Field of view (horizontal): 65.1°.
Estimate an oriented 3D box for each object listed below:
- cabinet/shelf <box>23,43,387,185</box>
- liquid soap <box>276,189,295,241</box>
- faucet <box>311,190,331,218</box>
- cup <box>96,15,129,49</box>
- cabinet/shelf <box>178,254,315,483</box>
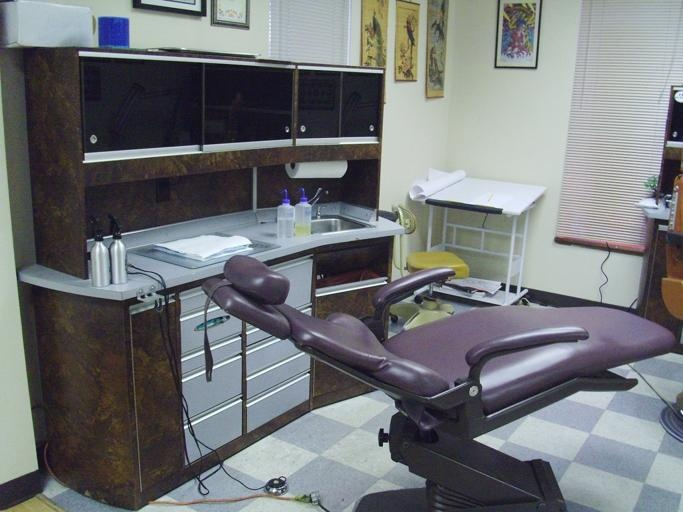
[{"bbox_3d":[-0.575,-0.762,2.917,0.343,0.469,2.021,12,19,34],"label":"cabinet/shelf"},{"bbox_3d":[-0.316,-0.248,3.023,0.107,0.248,0.293,-1,18,-7],"label":"liquid soap"},{"bbox_3d":[-0.137,-0.331,3.450,0.089,0.169,0.173,8,17,29],"label":"faucet"},{"bbox_3d":[-1.003,-0.992,2.363,0.127,0.149,0.247,-8,19,-25],"label":"cup"},{"bbox_3d":[-0.412,0.621,2.814,0.891,0.840,0.296,-26,-36,26],"label":"cabinet/shelf"}]
